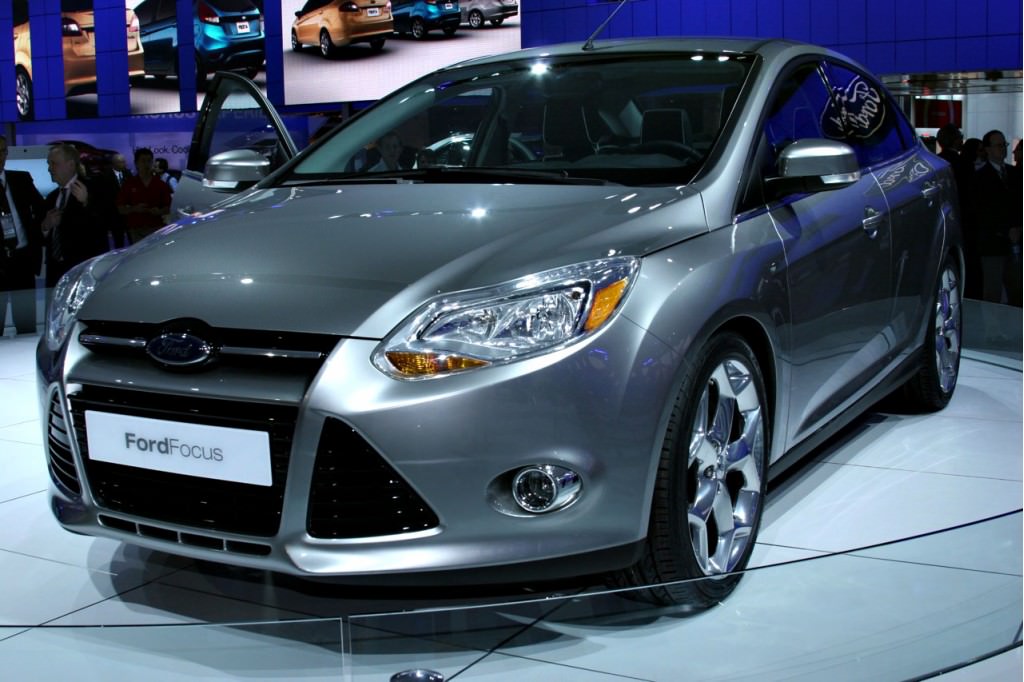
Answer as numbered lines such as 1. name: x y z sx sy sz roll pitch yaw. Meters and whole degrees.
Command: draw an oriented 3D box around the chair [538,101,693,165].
1. chair: 0.409 -0.820 3.016 0.540 0.331 0.302 -6 24 8
